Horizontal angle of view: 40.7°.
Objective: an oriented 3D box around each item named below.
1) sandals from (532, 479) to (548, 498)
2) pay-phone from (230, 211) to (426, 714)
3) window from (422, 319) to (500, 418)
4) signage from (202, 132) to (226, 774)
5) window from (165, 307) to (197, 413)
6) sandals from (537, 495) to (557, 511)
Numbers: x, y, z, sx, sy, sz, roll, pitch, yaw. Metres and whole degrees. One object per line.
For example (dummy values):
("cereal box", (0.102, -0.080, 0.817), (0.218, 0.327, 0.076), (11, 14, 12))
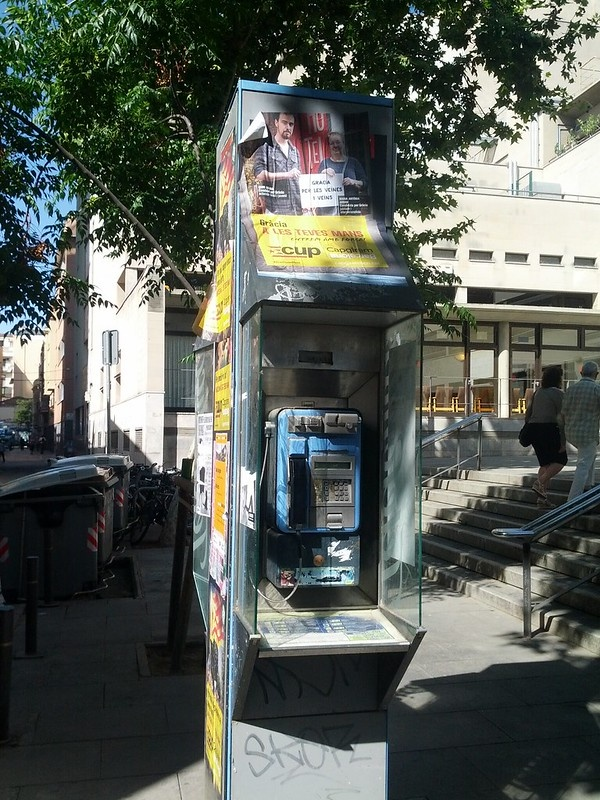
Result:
("sandals", (2.820, 1.030, 9.549), (0.095, 0.124, 0.283), (24, -20, 47))
("pay-phone", (0.101, 0.270, 3.276), (0.546, 2.263, 0.537), (2, -2, -15))
("window", (4.138, -0.848, 21.235), (2.361, 3.254, 0.349), (3, -7, -19))
("signage", (-0.362, 0.216, 3.593), (0.133, 2.868, 0.909), (0, -1, -7))
("window", (-3.312, -1.036, 23.170), (1.555, 3.592, 0.296), (-1, 38, -10))
("sandals", (2.854, 1.170, 9.402), (0.242, 0.216, 0.107), (0, 2, -7))
